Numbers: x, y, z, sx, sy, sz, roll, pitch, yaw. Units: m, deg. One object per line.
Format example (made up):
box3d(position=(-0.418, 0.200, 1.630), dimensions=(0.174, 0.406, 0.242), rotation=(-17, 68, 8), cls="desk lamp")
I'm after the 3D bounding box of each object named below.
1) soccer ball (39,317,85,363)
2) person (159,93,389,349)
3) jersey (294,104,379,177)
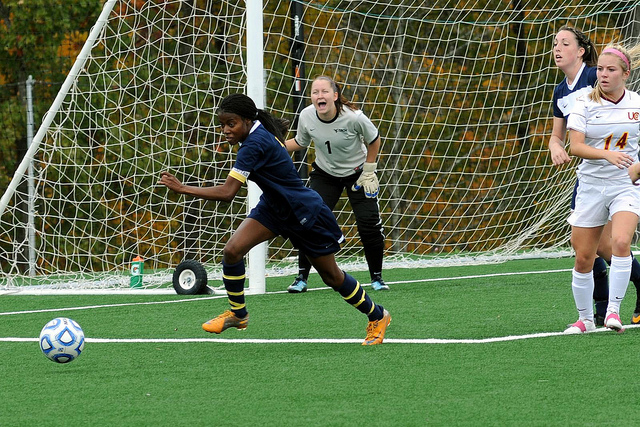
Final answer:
box3d(position=(-1.983, 1.000, 5.916), dimensions=(0.350, 0.379, 0.338), rotation=(3, -21, 1), cls="soccer ball")
box3d(position=(-0.279, 0.078, 6.147), dimensions=(1.428, 2.104, 0.492), rotation=(-5, 6, -14), cls="person")
box3d(position=(0.182, -0.830, 8.516), dimensions=(1.045, 0.823, 0.496), rotation=(3, 27, 24), cls="jersey")
